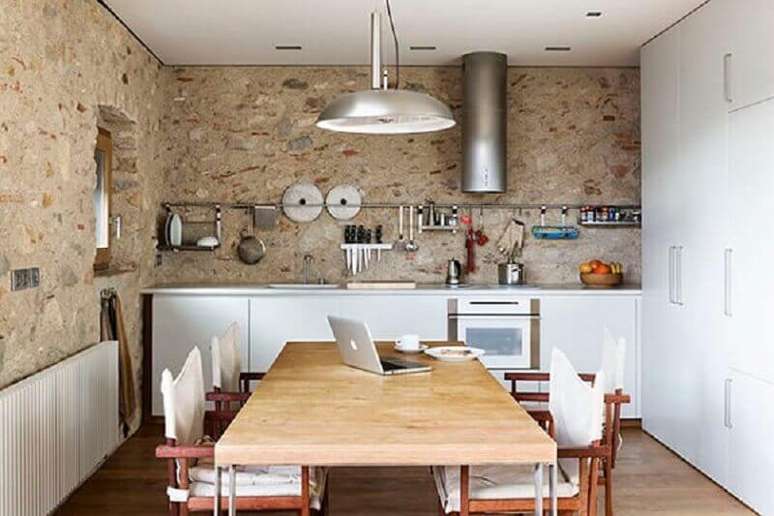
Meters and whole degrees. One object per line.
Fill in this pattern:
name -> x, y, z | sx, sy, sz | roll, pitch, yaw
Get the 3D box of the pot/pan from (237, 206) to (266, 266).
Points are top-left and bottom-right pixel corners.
pot/pan -> -1.293, -0.201, 6.120 | 0.227, 0.552, 0.170 | 8, 15, 28

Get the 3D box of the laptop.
laptop -> -0.051, 0.531, 3.935 | 0.523, 0.295, 0.558 | 1, -1, -38

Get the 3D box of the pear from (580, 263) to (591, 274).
pear -> 1.849, 0.106, 5.983 | 0.096, 0.090, 0.094 | -25, 12, -33

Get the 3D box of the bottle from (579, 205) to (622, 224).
bottle -> 2.041, -0.413, 6.126 | 0.370, 0.169, 0.193 | 4, 13, 16

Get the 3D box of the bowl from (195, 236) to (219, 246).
bowl -> -1.677, -0.147, 6.016 | 0.201, 0.083, 0.157 | -3, 12, -15

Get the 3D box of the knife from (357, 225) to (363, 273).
knife -> -0.255, -0.082, 6.150 | 0.087, 0.445, 0.106 | 0, 13, -3

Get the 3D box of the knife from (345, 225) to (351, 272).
knife -> -0.370, -0.106, 6.140 | 0.061, 0.385, 0.020 | -2, -6, 23

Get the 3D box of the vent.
vent -> 0.881, -1.234, 5.798 | 0.410, 1.242, 0.359 | 1, 13, 4

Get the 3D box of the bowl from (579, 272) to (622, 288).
bowl -> 1.967, 0.210, 5.893 | 0.362, 0.146, 0.295 | 3, 12, 14

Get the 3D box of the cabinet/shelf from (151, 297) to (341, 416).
cabinet/shelf -> -1.036, 0.673, 4.584 | 1.122, 0.659, 0.345 | -1, -2, -2

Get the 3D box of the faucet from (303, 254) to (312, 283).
faucet -> -0.769, 0.106, 6.122 | 0.091, 0.267, 0.142 | 2, 13, 9

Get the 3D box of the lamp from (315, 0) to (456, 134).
lamp -> -0.017, -0.993, 3.807 | 0.786, 0.801, 0.796 | -1, -3, 1

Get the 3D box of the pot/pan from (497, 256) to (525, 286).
pot/pan -> 1.144, 0.141, 6.003 | 0.209, 0.215, 0.259 | -1, 0, -4

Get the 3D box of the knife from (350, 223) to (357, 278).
knife -> -0.310, -0.067, 6.154 | 0.105, 0.466, 0.134 | 2, 13, 5

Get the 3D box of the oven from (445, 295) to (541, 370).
oven -> 0.998, 0.739, 5.861 | 0.873, 0.739, 0.589 | -1, -13, 15

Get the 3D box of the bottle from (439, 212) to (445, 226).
bottle -> 0.536, -0.357, 6.131 | 0.051, 0.087, 0.036 | 1, 13, 1

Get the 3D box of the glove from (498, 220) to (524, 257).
glove -> 1.210, -0.192, 6.237 | 0.262, 0.349, 0.118 | 11, 4, -3

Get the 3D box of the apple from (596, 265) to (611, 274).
apple -> 1.990, 0.116, 5.922 | 0.095, 0.092, 0.096 | -16, -2, -17

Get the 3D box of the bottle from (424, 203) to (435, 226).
bottle -> 0.429, -0.428, 6.135 | 0.110, 0.222, 0.125 | 2, 13, 5

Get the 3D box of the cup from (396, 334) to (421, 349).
cup -> 0.150, 0.555, 4.246 | 0.132, 0.077, 0.094 | -1, -1, -5
